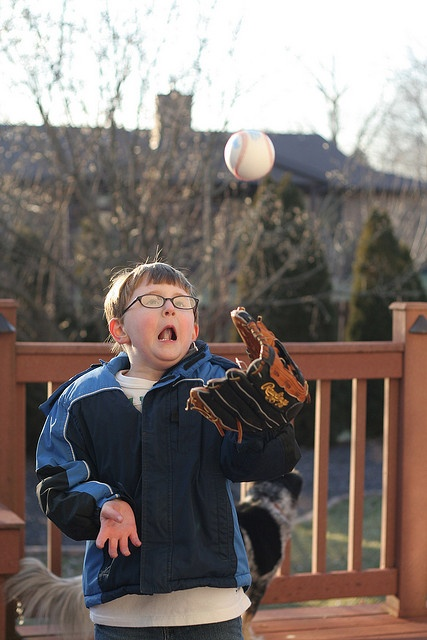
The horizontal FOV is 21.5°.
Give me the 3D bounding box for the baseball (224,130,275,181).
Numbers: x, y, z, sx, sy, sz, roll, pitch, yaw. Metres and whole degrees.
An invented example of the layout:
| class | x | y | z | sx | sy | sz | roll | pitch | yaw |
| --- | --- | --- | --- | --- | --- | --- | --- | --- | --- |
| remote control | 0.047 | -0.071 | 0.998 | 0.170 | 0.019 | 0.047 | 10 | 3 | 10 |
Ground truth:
| class | x | y | z | sx | sy | sz | roll | pitch | yaw |
| --- | --- | --- | --- | --- | --- | --- | --- | --- | --- |
| baseball | 0.208 | -0.974 | 6.580 | 0.275 | 0.275 | 0.238 | -2 | -7 | 0 |
